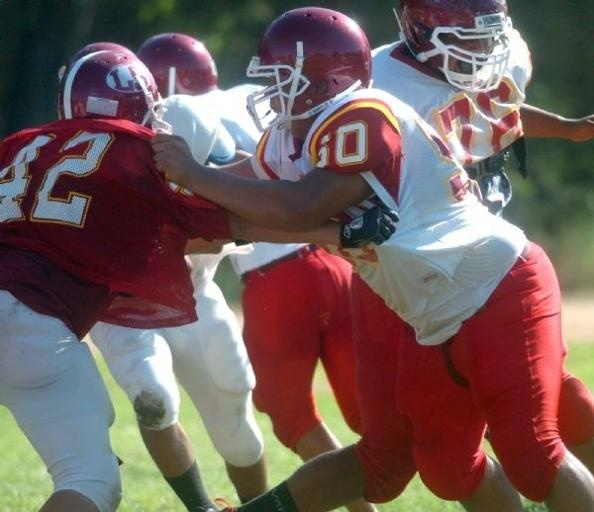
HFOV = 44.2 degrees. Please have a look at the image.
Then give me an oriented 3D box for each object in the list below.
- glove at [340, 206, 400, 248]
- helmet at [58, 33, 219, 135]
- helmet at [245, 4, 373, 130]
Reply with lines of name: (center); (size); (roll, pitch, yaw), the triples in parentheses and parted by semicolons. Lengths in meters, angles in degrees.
glove: (0.220, -0.091, 2.233); (0.159, 0.119, 0.269); (-17, -6, 28)
helmet: (-0.544, -0.554, 2.341); (0.363, 0.234, 0.243); (14, 13, -19)
helmet: (0.062, -0.605, 2.396); (0.388, 0.363, 0.323); (-3, 6, 7)
